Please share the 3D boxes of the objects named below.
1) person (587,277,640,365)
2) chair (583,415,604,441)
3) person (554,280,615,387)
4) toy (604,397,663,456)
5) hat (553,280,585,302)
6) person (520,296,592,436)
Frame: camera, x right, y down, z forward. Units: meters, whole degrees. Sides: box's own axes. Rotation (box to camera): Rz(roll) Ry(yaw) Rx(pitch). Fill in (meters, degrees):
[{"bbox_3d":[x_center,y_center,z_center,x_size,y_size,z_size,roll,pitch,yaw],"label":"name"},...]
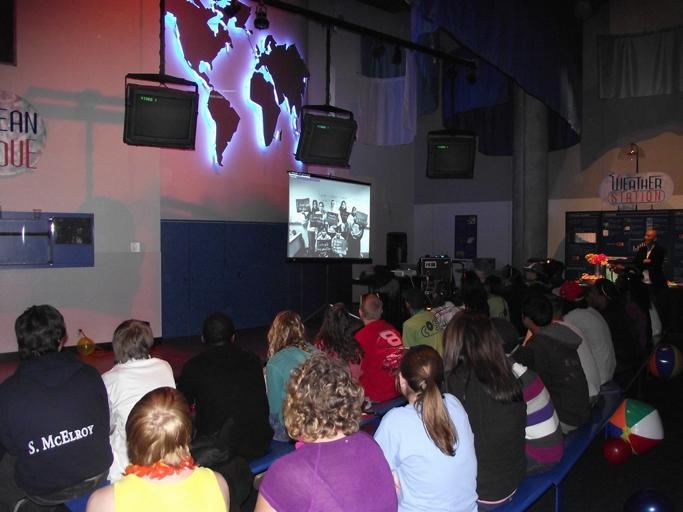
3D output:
[{"bbox_3d":[2.795,0.674,5.452,0.469,0.862,0.567,-4,2,44],"label":"person"},{"bbox_3d":[1.972,1.316,4.047,0.102,0.116,0.418,5,5,25],"label":"chair"},{"bbox_3d":[2.098,0.665,4.446,0.411,1.004,0.506,-23,28,-22],"label":"person"},{"bbox_3d":[2.577,1.527,4.602,0.496,0.494,0.228,1,2,-6],"label":"toy"},{"bbox_3d":[2.588,0.395,5.927,0.213,0.173,0.219,11,2,42],"label":"hat"},{"bbox_3d":[1.547,0.815,3.757,0.353,0.920,0.665,-17,39,3],"label":"person"}]
